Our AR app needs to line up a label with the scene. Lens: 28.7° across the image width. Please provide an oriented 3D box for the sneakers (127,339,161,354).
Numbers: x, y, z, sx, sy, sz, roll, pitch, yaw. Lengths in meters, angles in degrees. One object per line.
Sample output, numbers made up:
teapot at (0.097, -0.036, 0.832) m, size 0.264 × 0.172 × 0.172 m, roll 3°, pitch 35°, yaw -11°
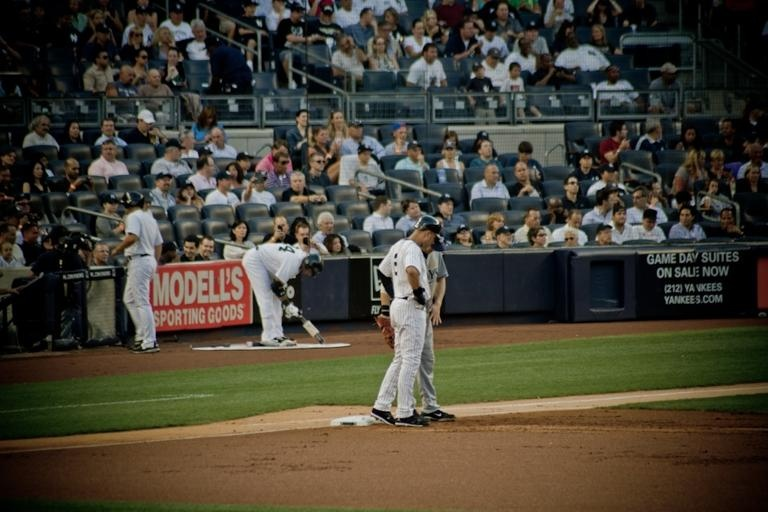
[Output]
sneakers at (-4.525, 1.657, 27.896) m, size 0.571 × 0.260 × 0.220 m, roll 5°, pitch 1°, yaw 2°

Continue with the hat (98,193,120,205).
hat at (-5.410, -1.116, 29.129) m, size 0.283 × 0.156 × 0.396 m, roll 4°, pitch 2°, yaw -44°

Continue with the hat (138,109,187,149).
hat at (-4.962, -2.738, 31.781) m, size 0.665 × 0.820 × 0.821 m, roll 0°, pitch 4°, yaw 35°

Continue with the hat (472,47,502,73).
hat at (2.356, -4.430, 33.698) m, size 0.618 × 0.431 × 0.403 m, roll -12°, pitch -33°, yaw -9°

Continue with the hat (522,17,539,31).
hat at (3.421, -5.405, 34.937) m, size 0.318 × 0.172 × 0.467 m, roll -1°, pitch 13°, yaw -5°

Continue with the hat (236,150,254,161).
hat at (-2.946, -2.063, 31.053) m, size 0.261 × 0.145 × 0.197 m, roll -17°, pitch -1°, yaw 17°

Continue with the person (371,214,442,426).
person at (0.335, 1.060, 24.267) m, size 1.084 × 3.389 × 0.540 m, roll -1°, pitch 4°, yaw 23°

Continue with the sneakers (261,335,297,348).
sneakers at (-2.003, 1.608, 28.309) m, size 0.670 × 0.308 × 0.245 m, roll -3°, pitch -1°, yaw 4°

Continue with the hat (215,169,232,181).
hat at (-3.268, -1.611, 30.182) m, size 0.297 × 0.178 × 0.307 m, roll -3°, pitch 3°, yaw -4°

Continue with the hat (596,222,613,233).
hat at (4.489, -0.553, 30.598) m, size 0.320 × 0.209 × 0.142 m, roll -4°, pitch 4°, yaw -18°

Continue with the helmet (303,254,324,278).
helmet at (-1.364, 0.140, 28.006) m, size 0.368 × 0.386 × 0.298 m, roll -2°, pitch 13°, yaw -26°

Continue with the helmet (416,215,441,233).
helmet at (0.731, -0.500, 24.202) m, size 0.351 × 0.193 × 0.243 m, roll 7°, pitch 17°, yaw -37°

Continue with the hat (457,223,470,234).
hat at (1.522, -0.578, 30.385) m, size 0.226 × 0.177 × 0.380 m, roll -8°, pitch -7°, yaw 0°

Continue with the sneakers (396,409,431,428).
sneakers at (0.441, 2.623, 24.370) m, size 0.585 × 0.303 × 0.223 m, roll -2°, pitch 4°, yaw -5°

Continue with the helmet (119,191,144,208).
helmet at (-4.738, -1.047, 27.915) m, size 0.443 × 0.297 × 0.355 m, roll -2°, pitch 3°, yaw 5°

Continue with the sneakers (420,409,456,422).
sneakers at (0.866, 2.576, 24.687) m, size 0.559 × 0.236 × 0.208 m, roll -1°, pitch 2°, yaw -11°
